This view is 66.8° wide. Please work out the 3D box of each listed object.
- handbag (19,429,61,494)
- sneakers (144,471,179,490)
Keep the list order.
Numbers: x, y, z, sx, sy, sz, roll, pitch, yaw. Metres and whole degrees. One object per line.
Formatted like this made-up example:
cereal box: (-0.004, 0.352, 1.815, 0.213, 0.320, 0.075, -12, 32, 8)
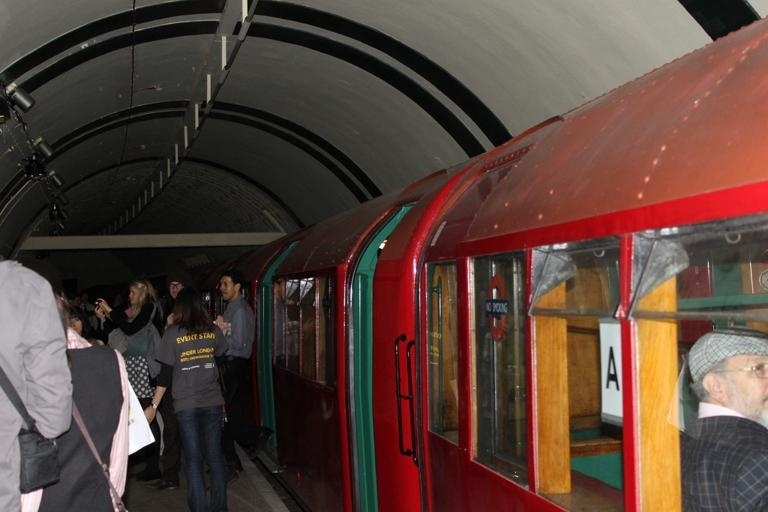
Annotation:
handbag: (-2.156, 1.252, 3.587, 0.181, 0.338, 0.236, -16, -11, 30)
sneakers: (-3.155, 3.148, 8.157, 0.566, 0.263, 0.215, 5, -5, -4)
